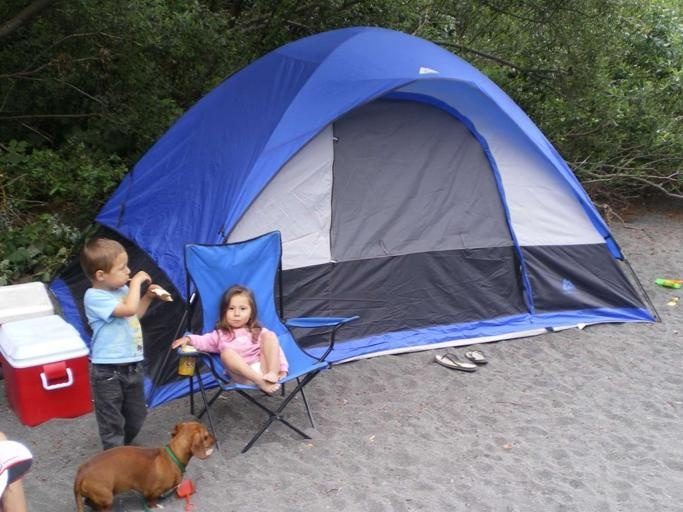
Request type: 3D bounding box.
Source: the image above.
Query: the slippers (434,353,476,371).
[{"bbox_3d":[1.017,0.952,5.819,0.276,0.072,0.156,12,15,29],"label":"slippers"}]

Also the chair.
[{"bbox_3d":[-0.679,0.643,4.834,1.186,1.332,1.331,14,19,31],"label":"chair"}]

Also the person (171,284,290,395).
[{"bbox_3d":[-0.798,0.638,4.833,0.958,0.545,0.823,-3,12,-31],"label":"person"}]
